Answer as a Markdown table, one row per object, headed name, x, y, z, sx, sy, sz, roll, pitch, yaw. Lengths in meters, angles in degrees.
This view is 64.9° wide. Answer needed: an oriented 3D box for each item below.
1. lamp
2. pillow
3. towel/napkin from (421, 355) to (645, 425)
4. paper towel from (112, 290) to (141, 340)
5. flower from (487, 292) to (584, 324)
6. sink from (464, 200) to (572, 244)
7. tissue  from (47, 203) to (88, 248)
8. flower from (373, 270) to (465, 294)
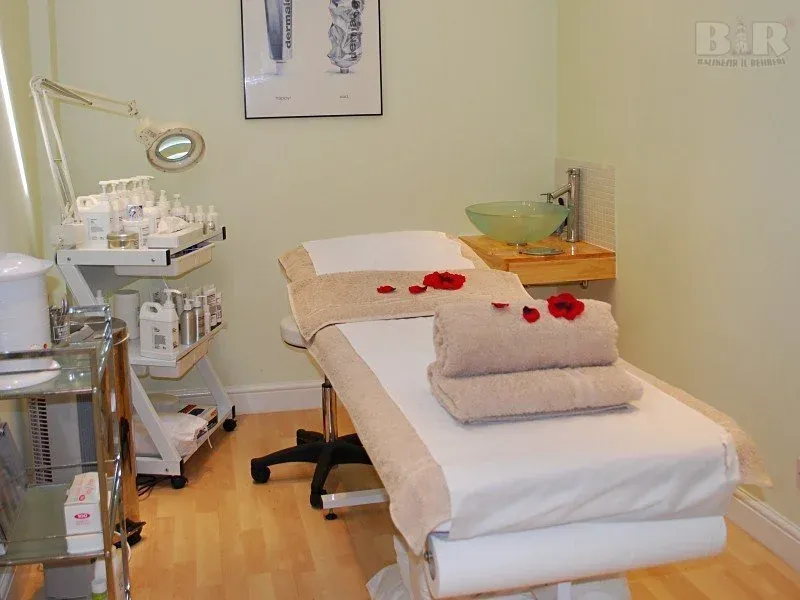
| name | x | y | z | sx | sy | sz | roll | pitch | yaw |
| --- | --- | --- | --- | --- | --- | --- | --- | --- | --- |
| lamp | -1.138 | -0.636 | 2.575 | 0.603 | 0.530 | 0.215 | -19 | 39 | -33 |
| pillow | -0.102 | -0.215 | 2.941 | 0.557 | 0.122 | 0.413 | -1 | 22 | -15 |
| towel/napkin | 0.469 | 0.249 | 1.800 | 0.470 | 0.076 | 0.449 | -4 | 1 | -10 |
| paper towel | -1.302 | 0.076 | 2.923 | 0.140 | 0.206 | 0.128 | -3 | 10 | -17 |
| flower | 0.408 | 0.025 | 1.791 | 0.181 | 0.053 | 0.115 | 0 | 34 | -16 |
| sink | 0.678 | -0.354 | 3.261 | 0.601 | 0.174 | 0.550 | 9 | 1 | -3 |
| tissue  | -1.348 | -0.302 | 2.525 | 0.185 | 0.171 | 0.174 | 6 | 13 | 13 |
| flower | 0.102 | -0.068 | 2.658 | 0.257 | 0.053 | 0.145 | -5 | 11 | 4 |
